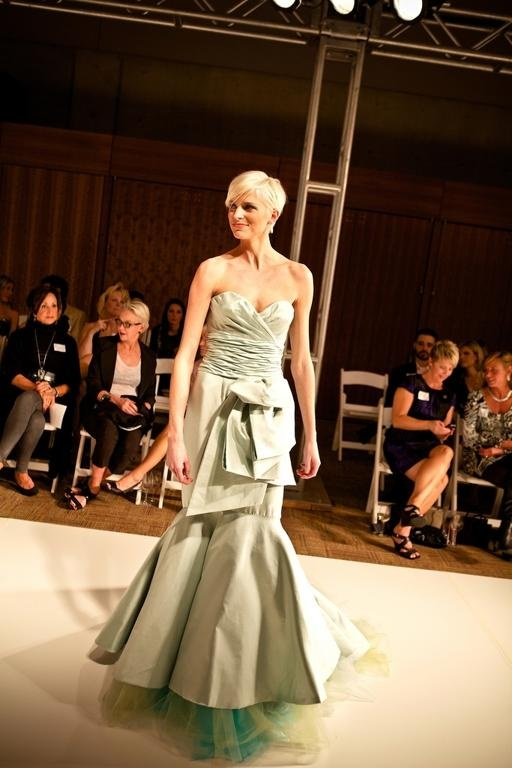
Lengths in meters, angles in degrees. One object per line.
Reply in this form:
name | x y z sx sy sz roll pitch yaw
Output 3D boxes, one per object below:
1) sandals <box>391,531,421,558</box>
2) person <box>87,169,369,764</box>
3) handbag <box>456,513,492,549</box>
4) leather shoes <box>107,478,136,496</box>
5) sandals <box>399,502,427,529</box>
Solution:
sandals | 0.962 1.036 3.479 0.195 0.141 0.150 8 -2 29
person | -0.001 0.196 1.448 0.675 1.443 0.401 10 -1 -13
handbag | 1.568 1.033 3.844 0.223 0.207 0.219 0 -6 5
leather shoes | -0.930 0.717 3.736 0.121 0.061 0.240 14 -1 39
sandals | 1.025 0.859 3.536 0.140 0.132 0.110 9 -1 14
